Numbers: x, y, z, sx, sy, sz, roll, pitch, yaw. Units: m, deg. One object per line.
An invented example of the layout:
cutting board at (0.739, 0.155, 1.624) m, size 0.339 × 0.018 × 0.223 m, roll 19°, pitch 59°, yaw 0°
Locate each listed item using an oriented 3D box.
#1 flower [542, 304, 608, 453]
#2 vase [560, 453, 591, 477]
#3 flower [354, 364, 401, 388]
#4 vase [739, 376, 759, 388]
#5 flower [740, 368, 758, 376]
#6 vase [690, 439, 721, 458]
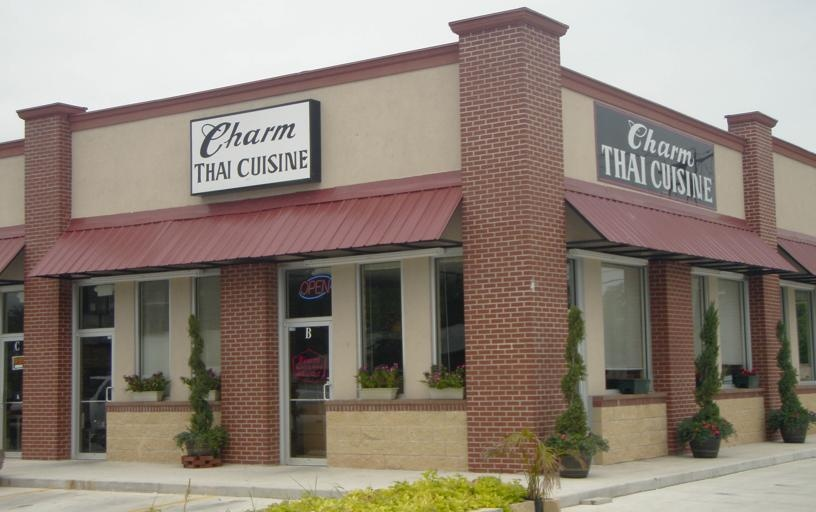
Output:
flower at (4.108, 3.145, 26.342) m, size 1.380 × 3.606 × 0.892 m, roll -1°, pitch -15°, yaw -3°
vase at (4.142, 5.199, 26.073) m, size 0.755 × 0.579 × 0.522 m, roll -4°, pitch -15°, yaw 6°
flower at (-0.788, 3.243, 28.139) m, size 0.854 × 0.350 × 0.722 m, roll -7°, pitch -9°, yaw 42°
vase at (10.663, 3.891, 33.103) m, size 0.360 × 0.444 × 0.677 m, roll -5°, pitch -7°, yaw 37°
flower at (10.705, 3.694, 33.297) m, size 0.318 × 0.150 × 0.302 m, roll 2°, pitch -6°, yaw -5°
vase at (8.210, 5.306, 29.124) m, size 0.730 × 0.572 × 0.601 m, roll -1°, pitch -15°, yaw -4°
